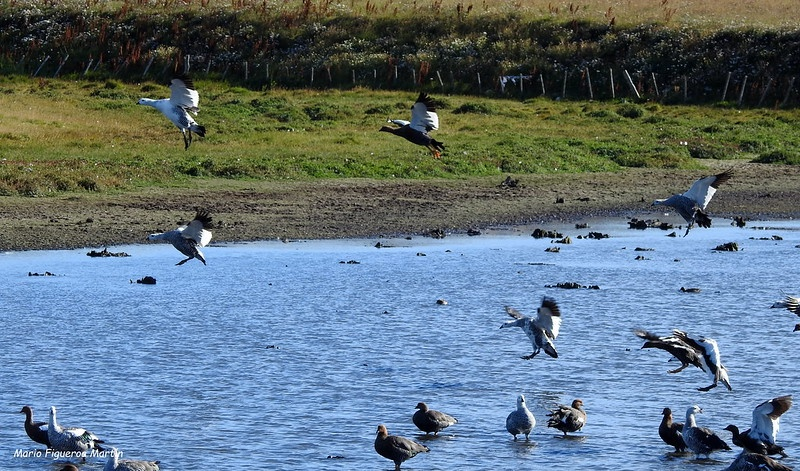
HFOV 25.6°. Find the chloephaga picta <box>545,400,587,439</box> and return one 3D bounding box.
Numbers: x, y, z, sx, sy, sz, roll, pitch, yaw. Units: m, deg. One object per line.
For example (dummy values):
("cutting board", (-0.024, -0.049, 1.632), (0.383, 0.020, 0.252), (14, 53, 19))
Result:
("chloephaga picta", (5.235, 5.683, 55.254), (1.344, 0.998, 0.635), (-6, 12, -14))

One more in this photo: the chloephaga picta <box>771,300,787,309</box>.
("chloephaga picta", (12.881, 2.311, 60.467), (0.427, 0.236, 0.784), (-4, 11, -4))

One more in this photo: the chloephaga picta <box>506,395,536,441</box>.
("chloephaga picta", (3.742, 5.586, 54.969), (0.919, 1.433, 0.506), (-4, 12, -2))
